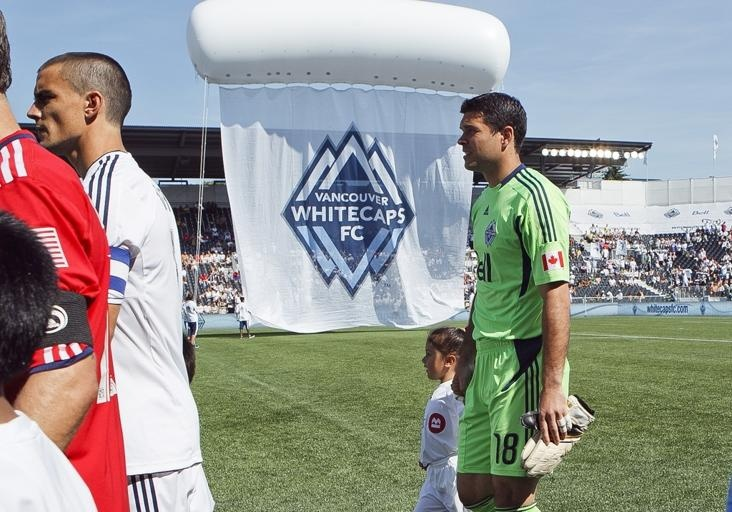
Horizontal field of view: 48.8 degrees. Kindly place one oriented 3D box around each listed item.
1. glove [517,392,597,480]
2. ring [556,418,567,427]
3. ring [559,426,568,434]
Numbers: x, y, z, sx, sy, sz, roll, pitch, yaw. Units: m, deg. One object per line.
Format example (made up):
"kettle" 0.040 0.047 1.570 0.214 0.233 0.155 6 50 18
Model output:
"glove" 0.969 0.900 4.223 0.470 0.275 0.191 -50 3 -9
"ring" 0.982 0.831 4.060 0.043 0.047 0.008 -3 -1 -12
"ring" 0.987 0.865 4.060 0.032 0.032 0.035 -9 -40 -34
